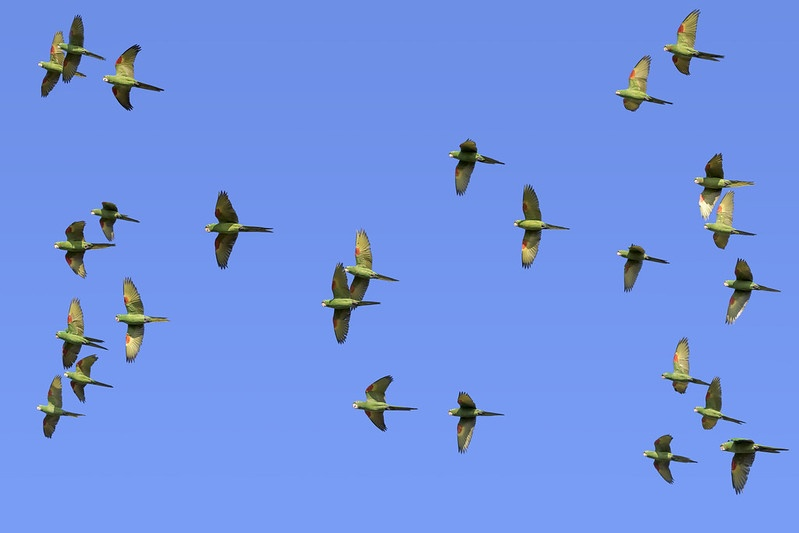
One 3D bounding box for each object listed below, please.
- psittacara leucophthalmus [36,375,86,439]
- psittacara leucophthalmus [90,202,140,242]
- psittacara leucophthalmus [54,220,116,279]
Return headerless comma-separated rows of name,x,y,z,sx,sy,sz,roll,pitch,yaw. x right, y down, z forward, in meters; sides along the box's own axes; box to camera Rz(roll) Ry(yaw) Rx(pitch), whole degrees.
psittacara leucophthalmus,-20.392,8.652,104.810,2.517,4.400,0.751,19,19,6
psittacara leucophthalmus,-17.001,-3.037,104.389,2.758,3.117,0.888,8,37,-22
psittacara leucophthalmus,-15.776,-1.199,87.334,2.326,5.903,3.774,0,89,-4
